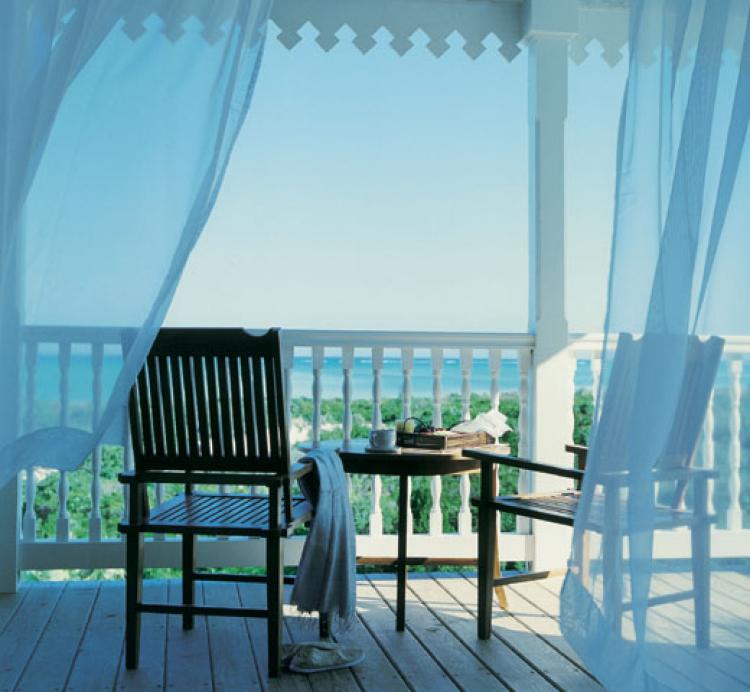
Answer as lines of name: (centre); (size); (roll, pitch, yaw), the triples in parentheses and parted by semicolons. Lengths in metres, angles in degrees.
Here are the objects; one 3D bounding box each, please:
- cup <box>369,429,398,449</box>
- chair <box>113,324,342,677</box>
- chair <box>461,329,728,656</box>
cup: (0.031, 0.322, 3.540); (0.076, 0.064, 0.064); (0, -2, -7)
chair: (-0.477, 0.486, 3.432); (0.622, 1.088, 0.652); (0, -3, 2)
chair: (0.677, 0.368, 2.944); (0.845, 0.895, 0.587); (2, -4, -20)
